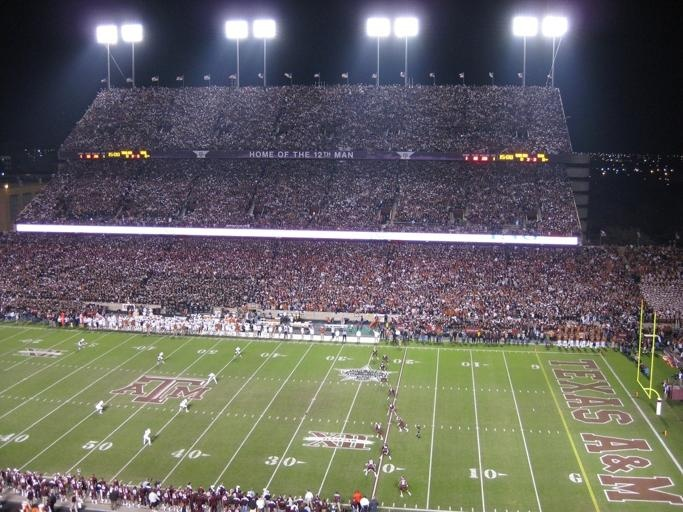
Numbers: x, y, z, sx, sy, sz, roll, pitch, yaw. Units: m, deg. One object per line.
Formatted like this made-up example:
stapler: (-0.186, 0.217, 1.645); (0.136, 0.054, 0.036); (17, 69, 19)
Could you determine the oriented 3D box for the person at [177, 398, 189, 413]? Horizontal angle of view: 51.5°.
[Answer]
person: (-6.953, 6.529, 31.278); (0.405, 0.406, 0.928); (4, 5, -14)
